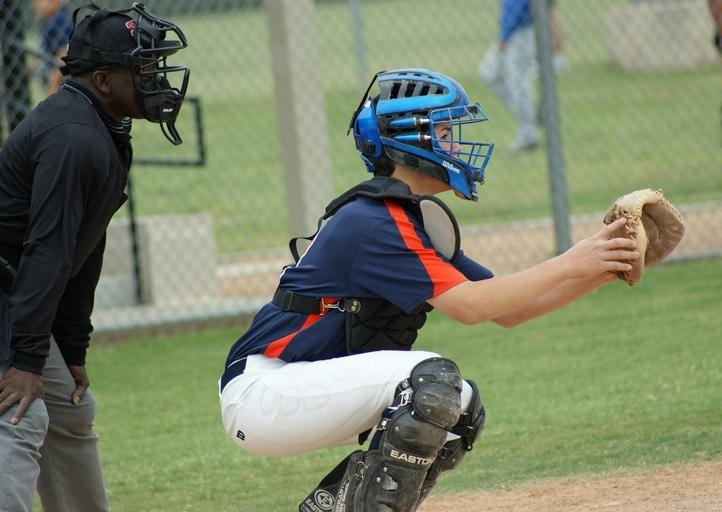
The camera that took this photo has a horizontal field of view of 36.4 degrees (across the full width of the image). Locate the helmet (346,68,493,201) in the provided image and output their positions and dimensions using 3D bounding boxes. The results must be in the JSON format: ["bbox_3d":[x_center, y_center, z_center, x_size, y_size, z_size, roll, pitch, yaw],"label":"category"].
[{"bbox_3d":[0.269,-0.524,4.713,0.610,0.516,0.481,0,6,3],"label":"helmet"}]

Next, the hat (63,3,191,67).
[{"bbox_3d":[-0.949,-0.899,4.496,0.403,0.191,0.286,-10,19,-18],"label":"hat"}]
